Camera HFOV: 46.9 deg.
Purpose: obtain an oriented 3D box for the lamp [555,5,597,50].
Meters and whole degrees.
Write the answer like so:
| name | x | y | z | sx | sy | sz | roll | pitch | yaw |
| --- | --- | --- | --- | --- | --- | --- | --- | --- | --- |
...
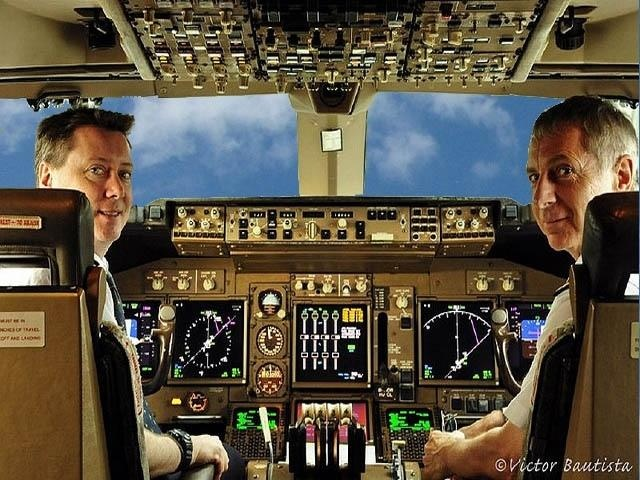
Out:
| name | x | y | z | sx | sy | sz | roll | pitch | yaw |
| --- | --- | --- | --- | --- | --- | --- | --- | --- | --- |
| lamp | 1.120 | -0.934 | 3.254 | 0.152 | 0.244 | 0.287 | 0 | -1 | 25 |
